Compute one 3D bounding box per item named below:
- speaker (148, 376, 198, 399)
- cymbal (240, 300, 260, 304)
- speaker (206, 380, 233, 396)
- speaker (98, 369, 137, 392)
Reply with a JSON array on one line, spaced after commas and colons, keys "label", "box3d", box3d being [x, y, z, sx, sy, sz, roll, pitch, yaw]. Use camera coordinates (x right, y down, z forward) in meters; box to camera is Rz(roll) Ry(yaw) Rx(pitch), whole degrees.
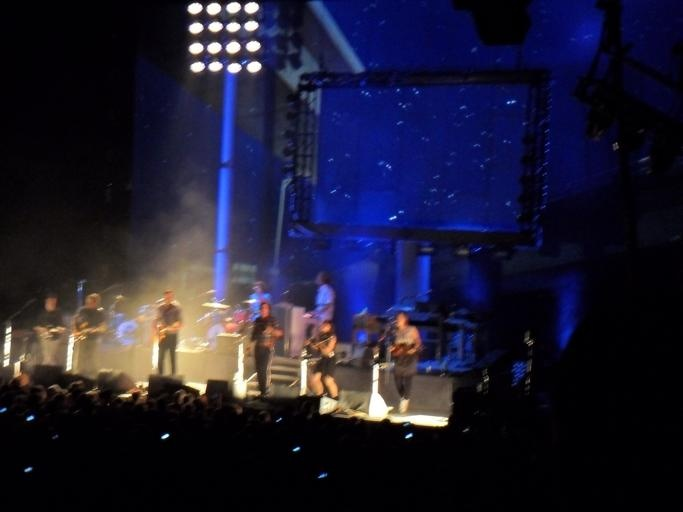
[{"label": "speaker", "box3d": [-2.597, 1.926, 10.161, 0.684, 0.332, 0.425, 6, -2, -3]}, {"label": "cymbal", "box3d": [-1.983, 0.992, 14.914, 0.305, 0.069, 0.318, 0, -2, 24]}, {"label": "speaker", "box3d": [-1.699, 1.836, 9.516, 0.411, 0.258, 0.217, 2, 0, -4]}, {"label": "speaker", "box3d": [-3.893, 2.177, 11.834, 0.786, 0.318, 0.899, 16, -15, -18]}]
